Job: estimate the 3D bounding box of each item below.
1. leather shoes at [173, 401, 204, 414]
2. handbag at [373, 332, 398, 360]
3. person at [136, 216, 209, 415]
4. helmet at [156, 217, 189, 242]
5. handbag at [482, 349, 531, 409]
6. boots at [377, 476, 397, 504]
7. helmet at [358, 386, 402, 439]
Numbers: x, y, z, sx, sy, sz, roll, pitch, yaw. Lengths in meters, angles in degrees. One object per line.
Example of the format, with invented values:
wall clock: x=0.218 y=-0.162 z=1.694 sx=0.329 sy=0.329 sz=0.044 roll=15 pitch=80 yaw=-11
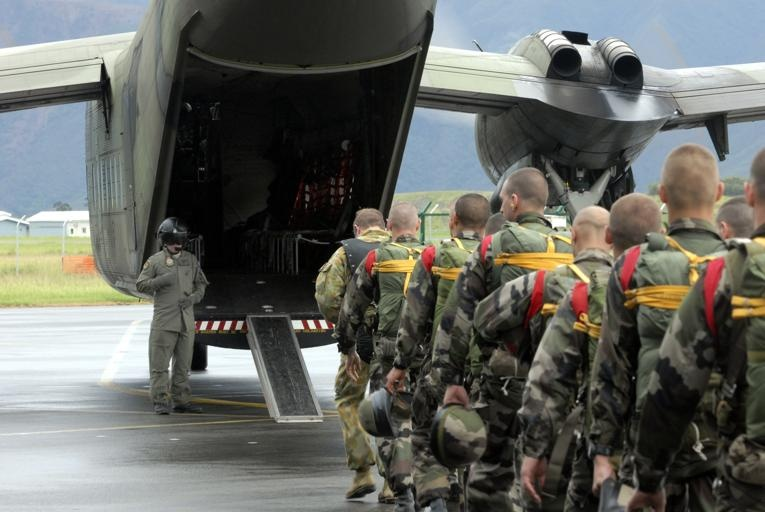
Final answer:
leather shoes: x=-2.454 y=1.850 z=10.614 sx=0.437 sy=0.179 sz=0.147 roll=1 pitch=11 yaw=-6
handbag: x=0.003 y=0.740 z=7.009 sx=0.146 sy=0.190 sz=0.199 roll=9 pitch=-5 yaw=-36
person: x=-2.582 y=0.731 z=10.459 sx=0.754 sy=2.401 sz=0.398 roll=-1 pitch=4 yaw=-40
helmet: x=-2.542 y=-0.308 z=10.296 sx=0.194 sy=0.306 sz=0.476 roll=3 pitch=4 yaw=31
handbag: x=0.826 y=0.934 z=5.956 sx=0.397 sy=0.214 sz=0.518 roll=-5 pitch=9 yaw=8
boots: x=0.019 y=1.997 z=7.211 sx=0.116 sy=0.219 sz=0.300 roll=1 pitch=-1 yaw=0
helmet: x=-0.047 y=1.232 z=6.747 sx=0.336 sy=0.356 sz=0.324 roll=-5 pitch=3 yaw=38
